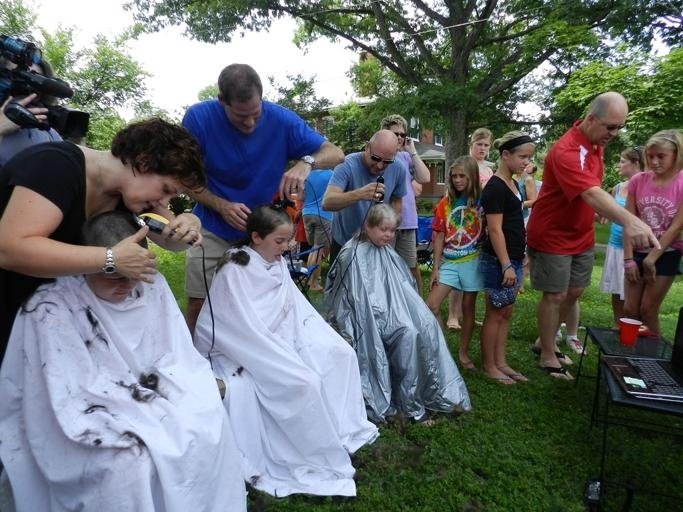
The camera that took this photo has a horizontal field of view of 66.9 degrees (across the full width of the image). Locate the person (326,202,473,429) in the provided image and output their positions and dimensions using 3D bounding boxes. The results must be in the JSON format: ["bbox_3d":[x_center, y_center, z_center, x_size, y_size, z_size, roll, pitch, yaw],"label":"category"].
[{"bbox_3d":[0.418,0.390,4.024,0.992,1.671,0.926,-1,0,-7],"label":"person"}]

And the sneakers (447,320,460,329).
[{"bbox_3d":[1.198,0.738,5.520,0.059,0.090,0.196,-1,-17,-6],"label":"sneakers"}]

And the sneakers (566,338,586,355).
[{"bbox_3d":[2.312,0.879,5.155,0.143,0.200,0.432,-6,-9,12],"label":"sneakers"}]

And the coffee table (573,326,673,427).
[{"bbox_3d":[2.003,0.629,3.668,0.540,0.699,0.849,1,6,18],"label":"coffee table"}]

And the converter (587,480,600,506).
[{"bbox_3d":[1.478,1.393,3.033,0.078,0.119,0.088,4,3,28],"label":"converter"}]

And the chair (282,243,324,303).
[{"bbox_3d":[-0.443,0.213,5.847,0.391,0.552,0.388,-19,7,-35],"label":"chair"}]

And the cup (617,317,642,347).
[{"bbox_3d":[2.011,0.536,3.643,0.172,0.157,0.132,0,0,0],"label":"cup"}]

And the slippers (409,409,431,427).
[{"bbox_3d":[0.562,1.153,3.736,0.112,0.115,0.192,-4,-25,43],"label":"slippers"}]

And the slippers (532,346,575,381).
[{"bbox_3d":[1.867,0.961,4.637,0.147,0.119,0.398,-4,10,-27],"label":"slippers"}]

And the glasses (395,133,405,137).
[{"bbox_3d":[0.581,-1.201,5.102,0.068,0.023,0.067,-5,7,-44],"label":"glasses"}]

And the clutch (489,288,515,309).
[{"bbox_3d":[1.340,0.346,4.317,0.176,0.160,0.072,2,-1,6],"label":"clutch"}]
